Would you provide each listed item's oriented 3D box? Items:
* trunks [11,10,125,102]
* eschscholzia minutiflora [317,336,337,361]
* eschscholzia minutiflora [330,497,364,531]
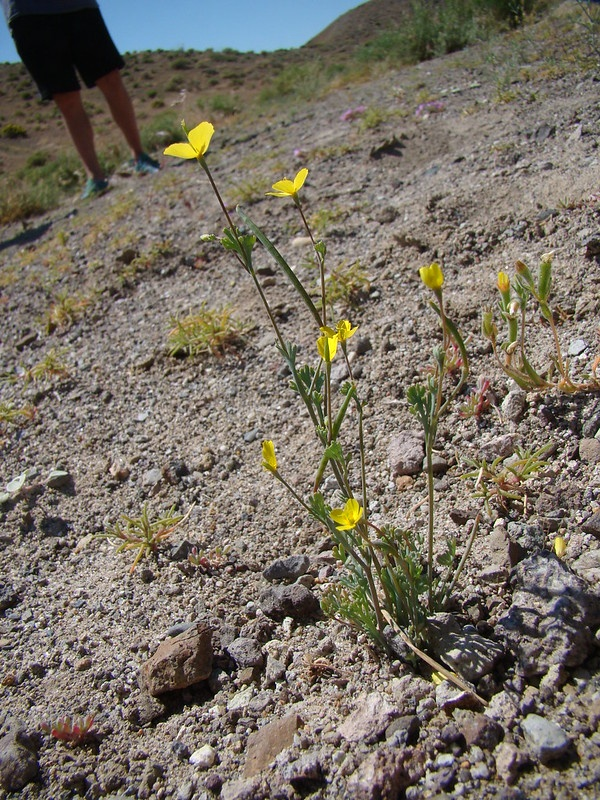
[{"bbox_3d":[-1.396,-2.138,4.315,0.597,0.481,0.345,-26,10,-17],"label":"trunks"},{"bbox_3d":[0.059,-0.104,1.390,0.041,0.040,0.097,-22,10,4],"label":"eschscholzia minutiflora"},{"bbox_3d":[0.087,0.209,1.280,0.053,0.050,0.060,-23,10,-3],"label":"eschscholzia minutiflora"}]
